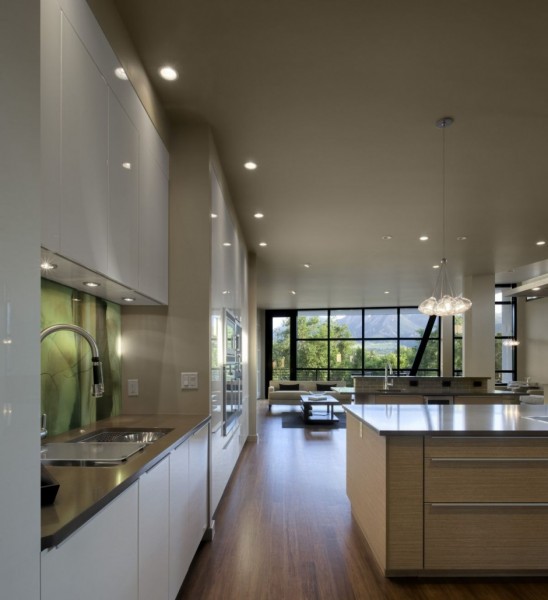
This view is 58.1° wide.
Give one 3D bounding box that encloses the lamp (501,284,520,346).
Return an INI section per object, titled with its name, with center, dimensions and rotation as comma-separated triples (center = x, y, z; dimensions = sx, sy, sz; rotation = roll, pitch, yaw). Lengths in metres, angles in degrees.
[lamp]
center = 5.896, 0.537, 12.211
dimensions = 0.563, 1.400, 0.315
rotation = 0, 2, 38

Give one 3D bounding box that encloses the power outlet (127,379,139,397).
[power outlet]
center = -0.864, 0.544, 3.008
dimensions = 0.076, 0.153, 0.065
rotation = 0, -1, -10

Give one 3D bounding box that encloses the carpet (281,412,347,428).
[carpet]
center = 0.727, 2.220, 9.032
dimensions = 1.182, 0.087, 2.160
rotation = 1, -9, 3
